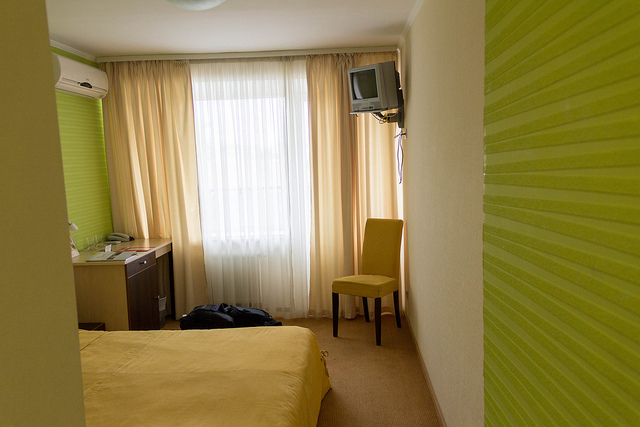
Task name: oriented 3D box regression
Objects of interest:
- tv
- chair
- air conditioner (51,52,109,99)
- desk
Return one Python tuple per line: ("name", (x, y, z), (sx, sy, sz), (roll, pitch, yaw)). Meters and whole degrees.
("tv", (0.489, -1.092, 4.272), (0.520, 0.473, 0.440), (2, 13, 45))
("chair", (0.485, 0.612, 4.631), (0.617, 1.102, 0.836), (3, 11, 24))
("air conditioner", (-2.364, -1.315, 4.523), (0.189, 0.284, 0.606), (12, 6, 14))
("desk", (-1.895, 0.693, 4.677), (0.515, 0.710, 1.010), (2, 10, 5))
